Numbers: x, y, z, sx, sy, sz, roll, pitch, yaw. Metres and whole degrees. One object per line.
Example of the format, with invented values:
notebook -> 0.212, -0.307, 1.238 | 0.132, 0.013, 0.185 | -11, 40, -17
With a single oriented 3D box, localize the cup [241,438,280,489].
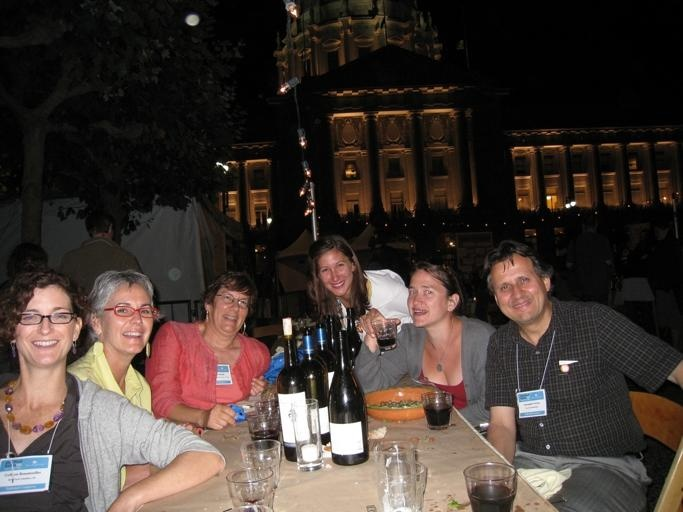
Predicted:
cup -> -0.383, 0.984, 2.686 | 0.186, 0.227, 0.206 | -3, -12, 1

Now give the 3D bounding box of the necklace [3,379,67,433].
necklace -> -1.629, 0.791, 2.925 | 0.345, 0.262, 0.104 | -3, -3, 12

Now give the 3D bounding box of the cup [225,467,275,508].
cup -> -0.408, 1.009, 2.488 | 0.157, 0.192, 0.187 | -3, -17, -3

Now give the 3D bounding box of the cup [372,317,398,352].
cup -> 0.298, 0.520, 3.738 | 0.174, 0.212, 0.188 | -1, -10, 0

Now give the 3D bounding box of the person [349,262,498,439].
person -> 0.681, 0.600, 4.003 | 0.990, 1.496, 1.018 | 7, -9, -37

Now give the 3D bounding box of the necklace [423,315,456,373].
necklace -> 0.672, 0.613, 3.920 | 0.228, 0.342, 0.076 | 6, 13, 39

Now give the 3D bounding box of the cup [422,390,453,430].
cup -> 0.543, 0.866, 3.173 | 0.180, 0.219, 0.193 | -1, -7, 0
